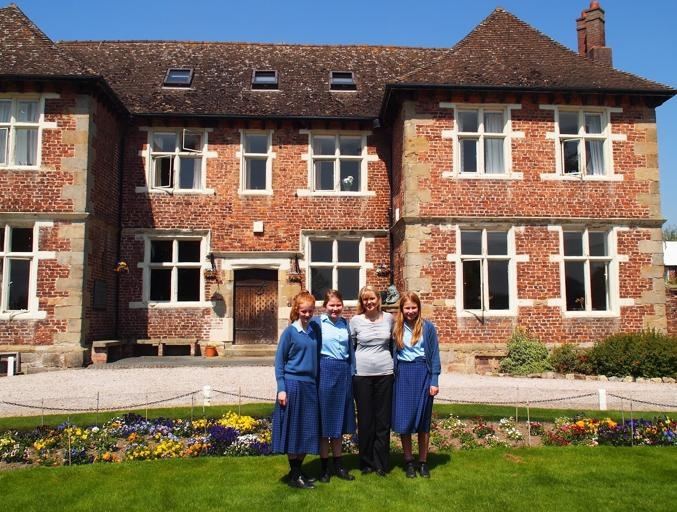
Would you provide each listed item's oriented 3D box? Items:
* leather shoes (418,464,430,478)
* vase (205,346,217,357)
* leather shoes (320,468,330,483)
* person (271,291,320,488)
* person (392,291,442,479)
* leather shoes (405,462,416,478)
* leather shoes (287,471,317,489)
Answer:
[{"bbox_3d":[1.209,3.018,10.059,0.170,0.162,0.180,-1,6,-5],"label":"leather shoes"},{"bbox_3d":[-3.636,2.656,19.965,0.262,0.279,0.281,-1,-4,9],"label":"vase"},{"bbox_3d":[-0.211,3.063,9.924,0.149,0.152,0.132,0,5,-1],"label":"leather shoes"},{"bbox_3d":[-0.606,1.815,9.982,0.660,2.622,0.776,0,5,7],"label":"person"},{"bbox_3d":[1.099,1.809,10.204,0.683,2.554,0.689,0,5,4],"label":"person"},{"bbox_3d":[1.016,3.001,10.059,0.160,0.194,0.183,0,5,5],"label":"leather shoes"},{"bbox_3d":[-0.539,3.081,9.798,0.334,0.141,0.169,-1,-3,22],"label":"leather shoes"}]
